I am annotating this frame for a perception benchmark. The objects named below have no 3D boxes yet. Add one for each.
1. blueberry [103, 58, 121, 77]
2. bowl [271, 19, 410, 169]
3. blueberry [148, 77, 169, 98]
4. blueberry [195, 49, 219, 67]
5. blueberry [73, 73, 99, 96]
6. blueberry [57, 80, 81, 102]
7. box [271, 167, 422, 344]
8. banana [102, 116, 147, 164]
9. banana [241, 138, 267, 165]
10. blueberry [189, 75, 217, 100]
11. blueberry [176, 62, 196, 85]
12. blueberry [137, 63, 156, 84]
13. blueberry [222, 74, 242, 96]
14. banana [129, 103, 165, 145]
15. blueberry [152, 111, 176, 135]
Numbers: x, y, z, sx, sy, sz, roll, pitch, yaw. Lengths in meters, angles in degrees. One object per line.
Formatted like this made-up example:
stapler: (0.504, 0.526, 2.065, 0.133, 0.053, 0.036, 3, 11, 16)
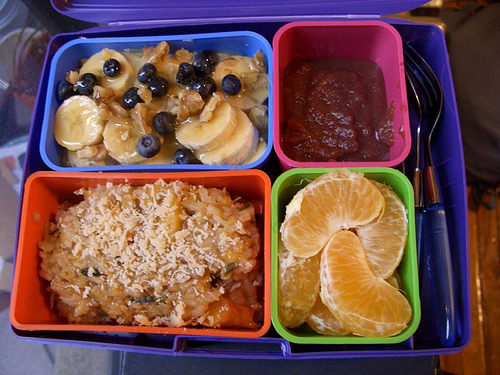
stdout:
blueberry: (-0.753, -0.648, 2.626, 0.078, 0.047, 0.098, 5, 89, -2)
bowl: (0.463, -0.479, 2.609, 0.697, 0.298, 0.832, -1, 82, 2)
blueberry: (-0.500, -0.540, 2.631, 0.105, 0.088, 0.107, 16, 82, 4)
blueberry: (-0.232, -0.724, 2.657, 0.096, 0.055, 0.096, 42, 49, 14)
blueberry: (-0.908, -0.567, 2.660, 0.138, 0.060, 0.121, -2, 81, 2)
blueberry: (-1.017, -0.536, 2.718, 0.105, 0.099, 0.101, 8, 65, 10)
box: (0.485, 0.347, 2.466, 0.757, 0.360, 0.870, 0, 82, 2)
banana: (-0.673, -0.260, 2.590, 0.201, 0.064, 0.265, -9, 82, 0)
banana: (0.021, -0.195, 2.612, 0.119, 0.031, 0.129, 25, 86, 45)
blueberry: (-0.266, -0.532, 2.616, 0.159, 0.134, 0.106, -19, 117, 6)
blueberry: (-0.347, -0.613, 2.651, 0.076, 0.085, 0.119, 14, 112, -13)
blueberry: (-0.561, -0.616, 2.618, 0.076, 0.054, 0.104, 38, 97, 4)
blueberry: (-0.104, -0.554, 2.612, 0.103, 0.070, 0.104, 15, 82, 4)
banana: (-0.548, -0.337, 2.623, 0.158, 0.047, 0.221, -11, 93, 3)
blueberry: (-0.448, -0.332, 2.549, 0.104, 0.053, 0.114, -34, 106, -19)
